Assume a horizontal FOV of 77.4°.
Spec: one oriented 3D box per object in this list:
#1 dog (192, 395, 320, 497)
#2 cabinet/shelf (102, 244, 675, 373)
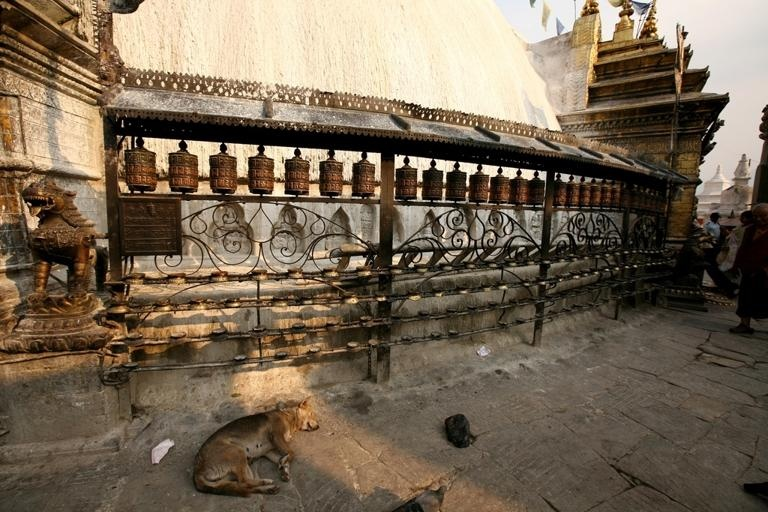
[{"bbox_3d":[-1.619,2.612,6.483,1.755,1.081,0.645,-2,-23,-36],"label":"dog"},{"bbox_3d":[0.248,0.919,8.245,8.966,1.883,1.694,-4,6,-19],"label":"cabinet/shelf"}]
